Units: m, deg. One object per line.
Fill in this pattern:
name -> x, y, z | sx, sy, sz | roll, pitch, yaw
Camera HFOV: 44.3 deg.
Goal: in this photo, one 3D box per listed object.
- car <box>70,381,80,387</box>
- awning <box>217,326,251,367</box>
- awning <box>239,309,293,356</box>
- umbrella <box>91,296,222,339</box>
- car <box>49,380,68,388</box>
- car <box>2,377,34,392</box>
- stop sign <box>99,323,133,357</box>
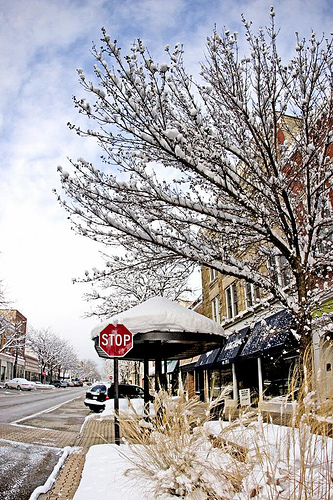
car -> -21.708, 32.287, 98.935 | 1.371, 0.692, 2.207 | 9, -9, -39
awning -> 2.670, 4.581, 18.860 | 0.266, 1.864, 2.680 | 45, -37, -5
awning -> 3.226, 2.709, 13.160 | 0.141, 1.902, 3.255 | 31, -18, 5
umbrella -> -0.161, 1.553, 9.312 | 2.692, 0.920, 2.716 | -3, -14, 9
car -> -20.544, 24.975, 77.355 | 2.964, 1.405, 1.823 | -3, -31, 17
car -> -18.015, 16.546, 50.497 | 2.184, 1.219, 5.432 | 10, -18, -35
stop sign -> -0.967, 1.689, 7.743 | 0.472, 0.615, 0.592 | 4, -12, -16
